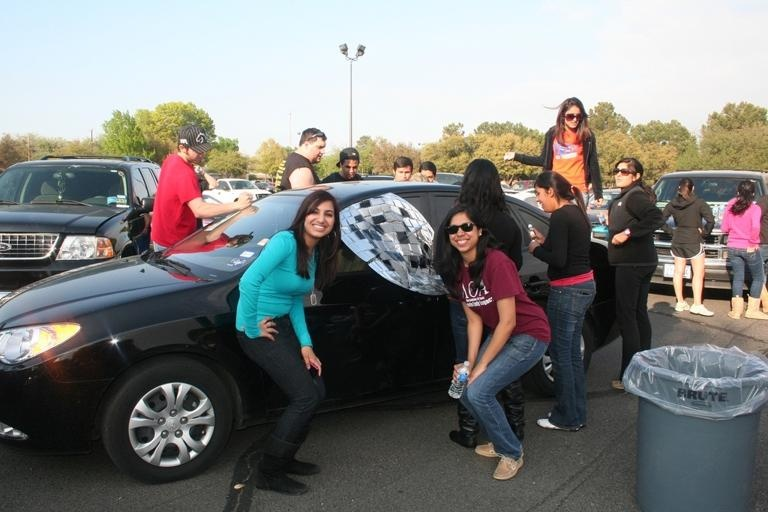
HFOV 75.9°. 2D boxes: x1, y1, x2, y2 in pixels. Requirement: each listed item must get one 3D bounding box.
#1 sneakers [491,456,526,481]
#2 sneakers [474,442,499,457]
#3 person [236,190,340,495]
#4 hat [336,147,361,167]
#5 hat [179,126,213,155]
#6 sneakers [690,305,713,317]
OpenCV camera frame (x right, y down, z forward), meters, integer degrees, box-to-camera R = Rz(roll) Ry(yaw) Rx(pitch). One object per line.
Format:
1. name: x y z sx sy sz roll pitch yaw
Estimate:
1. sneakers: 1.003 1.699 3.974 0.116 0.131 0.311 -5 -2 40
2. sneakers: 0.875 1.671 4.205 0.259 0.108 0.101 5 1 4
3. person: -0.673 0.652 3.648 0.769 2.214 0.446 -3 12 -21
4. hat: -0.482 -1.476 7.400 0.425 0.331 0.310 -1 5 20
5. hat: -2.063 -1.260 5.369 0.309 0.306 0.311 -4 13 -24
6. sneakers: 5.389 0.932 8.288 0.439 0.204 0.165 2 9 3
